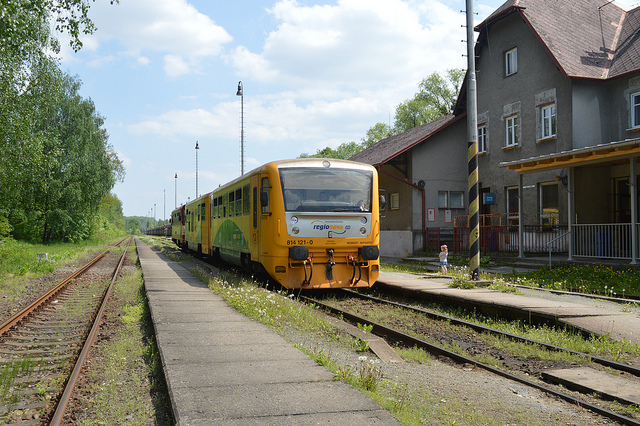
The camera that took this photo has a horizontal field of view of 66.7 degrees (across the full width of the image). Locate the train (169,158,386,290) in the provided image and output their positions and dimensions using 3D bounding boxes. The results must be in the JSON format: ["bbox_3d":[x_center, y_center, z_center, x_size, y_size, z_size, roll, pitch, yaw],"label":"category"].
[{"bbox_3d":[-3.263,0.961,23.421,3.681,4.162,19.541,2,-5,-20],"label":"train"}]

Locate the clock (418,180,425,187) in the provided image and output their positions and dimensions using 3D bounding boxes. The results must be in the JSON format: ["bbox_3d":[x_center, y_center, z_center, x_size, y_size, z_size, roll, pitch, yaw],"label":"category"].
[{"bbox_3d":[5.838,-1.706,27.988,0.503,0.322,0.150,5,-5,-41],"label":"clock"}]

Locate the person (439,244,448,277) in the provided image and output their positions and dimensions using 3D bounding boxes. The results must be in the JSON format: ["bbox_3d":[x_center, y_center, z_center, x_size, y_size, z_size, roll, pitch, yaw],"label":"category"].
[{"bbox_3d":[4.959,1.891,19.538,0.264,1.182,1.694,0,-5,16],"label":"person"}]
